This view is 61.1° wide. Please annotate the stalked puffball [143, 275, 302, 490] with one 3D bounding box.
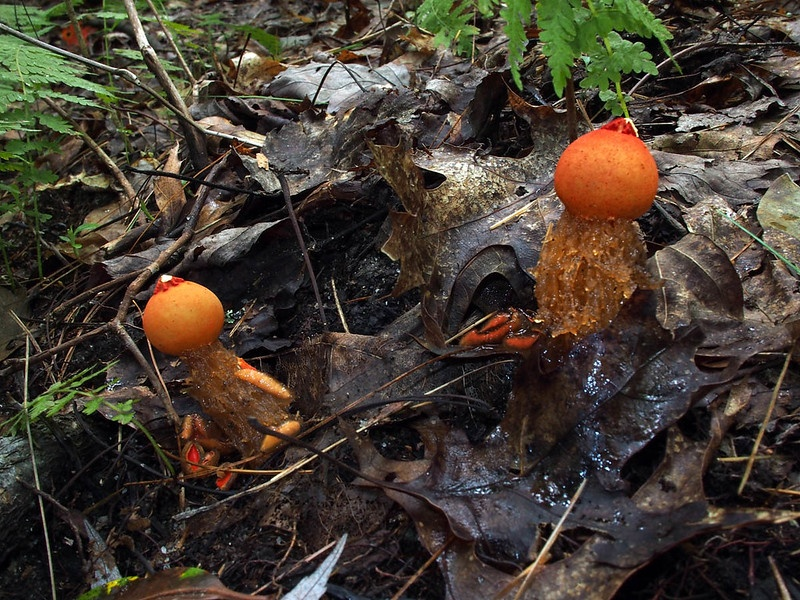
[{"bbox_3d":[-0.884,0.402,3.438,0.612,0.947,0.702,-12,42,-20],"label":"stalked puffball"}]
